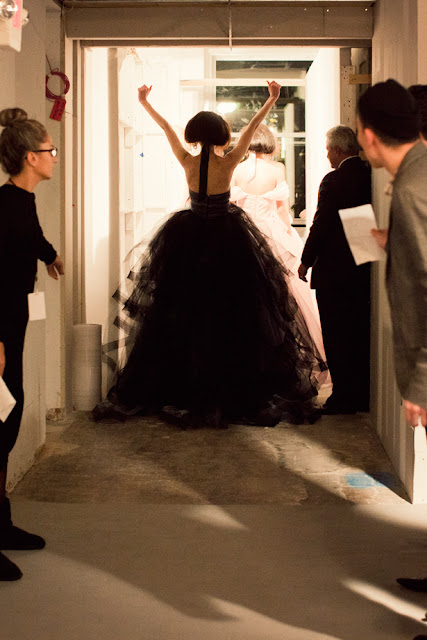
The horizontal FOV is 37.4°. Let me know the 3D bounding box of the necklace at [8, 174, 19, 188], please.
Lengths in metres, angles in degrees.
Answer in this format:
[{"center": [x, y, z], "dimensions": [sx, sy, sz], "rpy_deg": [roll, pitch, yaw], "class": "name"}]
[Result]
[{"center": [-0.648, -0.445, 2.039], "dimensions": [0.045, 0.018, 0.050], "rpy_deg": [3, 39, -10], "class": "necklace"}]
